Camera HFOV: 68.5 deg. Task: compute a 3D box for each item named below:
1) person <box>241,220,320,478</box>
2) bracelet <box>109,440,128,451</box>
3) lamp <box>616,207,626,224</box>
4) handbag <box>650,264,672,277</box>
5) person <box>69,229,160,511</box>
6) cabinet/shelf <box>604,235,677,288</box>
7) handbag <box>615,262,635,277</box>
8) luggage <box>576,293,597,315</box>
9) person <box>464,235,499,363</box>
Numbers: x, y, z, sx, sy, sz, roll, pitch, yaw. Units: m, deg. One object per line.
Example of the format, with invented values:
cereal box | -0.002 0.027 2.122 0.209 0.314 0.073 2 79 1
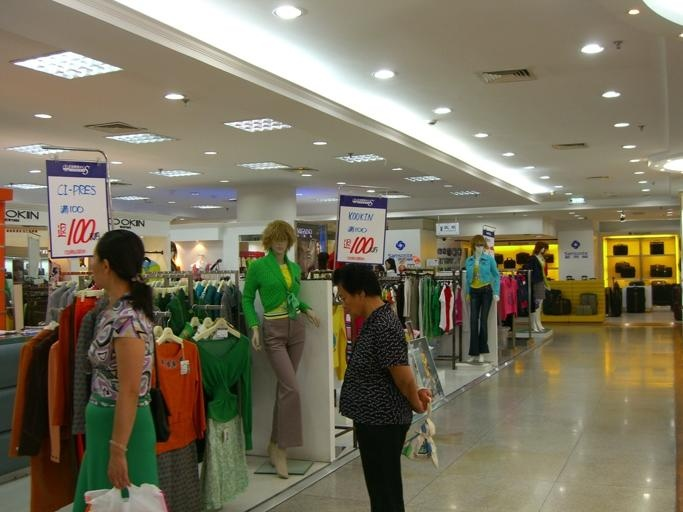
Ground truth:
person | -0.535 0.780 4.396 0.647 2.178 0.405 0 0 -5
bracelet | -0.960 0.808 2.161 0.063 0.017 0.048 22 -17 6
lamp | 10.289 -1.529 18.549 0.220 0.218 0.392 1 -13 18
handbag | 13.128 0.643 20.684 0.766 0.540 0.481 2 7 19
person | -1.023 0.548 2.292 0.359 1.352 0.549 -1 1 -28
cabinet/shelf | 12.524 0.220 20.903 2.072 1.979 0.685 0 -3 17
handbag | 11.900 0.591 21.166 0.623 0.604 0.622 6 11 25
luggage | 7.717 1.502 15.810 0.594 0.696 0.337 0 1 21
person | 2.394 0.741 8.718 0.550 2.195 0.576 0 0 -6
